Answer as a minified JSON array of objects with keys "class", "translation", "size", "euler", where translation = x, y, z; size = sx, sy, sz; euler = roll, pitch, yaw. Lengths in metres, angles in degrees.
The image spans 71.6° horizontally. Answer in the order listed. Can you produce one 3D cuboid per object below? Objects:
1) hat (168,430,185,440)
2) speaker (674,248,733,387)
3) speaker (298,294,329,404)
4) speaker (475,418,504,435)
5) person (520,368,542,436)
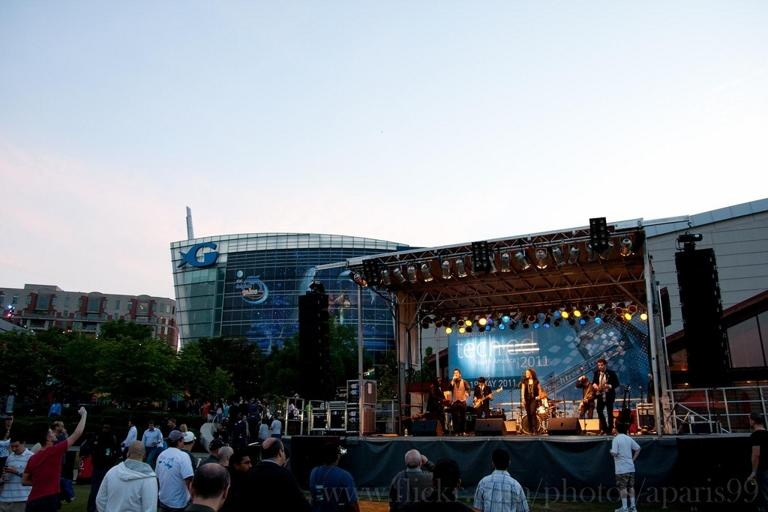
[{"class":"hat","translation":[-3.696,3.183,9.471],"size":[0.225,0.165,0.384],"euler":[7,-17,-28]},{"class":"speaker","translation":[8.622,1.611,14.484],"size":[1.048,3.722,0.504],"euler":[-8,-17,26]},{"class":"speaker","translation":[-2.238,2.810,17.124],"size":[1.096,3.391,0.690],"euler":[5,-16,-21]},{"class":"speaker","translation":[3.174,5.150,16.124],"size":[0.811,0.432,0.303],"euler":[-2,-15,5]},{"class":"person","translation":[5.116,5.026,18.509],"size":[0.587,2.105,1.053],"euler":[-5,-16,15]}]
